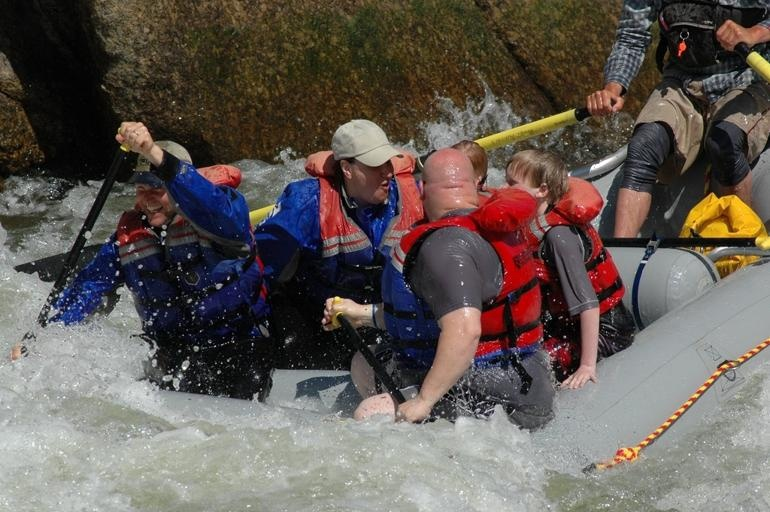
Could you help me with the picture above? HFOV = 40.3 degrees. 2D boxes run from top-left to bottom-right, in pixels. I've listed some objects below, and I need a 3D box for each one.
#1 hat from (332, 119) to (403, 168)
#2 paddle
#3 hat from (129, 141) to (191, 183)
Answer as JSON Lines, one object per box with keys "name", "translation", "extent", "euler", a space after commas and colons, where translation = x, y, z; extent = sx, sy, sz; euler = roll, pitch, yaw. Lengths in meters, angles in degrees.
{"name": "hat", "translation": [-0.123, -0.747, 7.053], "extent": [0.387, 0.233, 0.280], "euler": [6, 19, 33]}
{"name": "paddle", "translation": [-0.779, -0.424, 7.663], "extent": [3.045, 0.216, 0.559], "euler": [-22, 50, 8]}
{"name": "hat", "translation": [-1.412, -0.587, 6.835], "extent": [0.372, 0.258, 0.196], "euler": [28, 73, -25]}
